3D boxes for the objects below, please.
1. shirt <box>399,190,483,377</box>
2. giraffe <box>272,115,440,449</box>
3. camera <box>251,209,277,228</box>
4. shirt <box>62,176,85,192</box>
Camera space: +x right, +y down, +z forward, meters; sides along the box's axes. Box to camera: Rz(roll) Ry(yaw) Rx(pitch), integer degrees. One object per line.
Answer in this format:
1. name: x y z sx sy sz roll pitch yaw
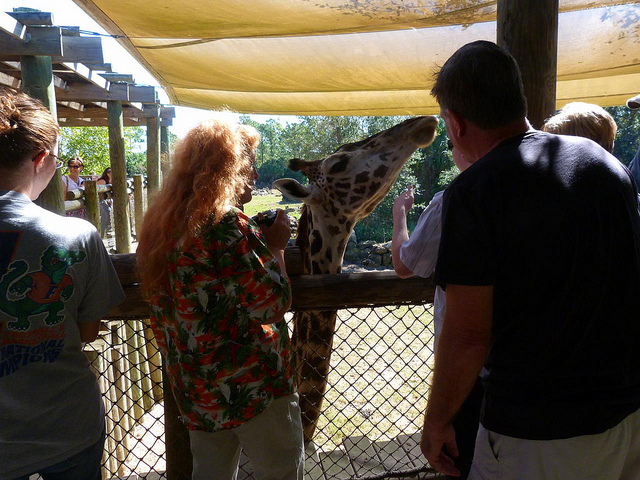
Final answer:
1. shirt: 0.445 0.102 2.306 0.350 0.812 0.310 -1 16 -15
2. giraffe: 0.054 0.191 3.602 0.877 2.005 1.023 4 16 -20
3. camera: -0.261 -0.105 2.608 0.107 0.036 0.066 -20 7 -8
4. shirt: -3.892 -0.893 8.869 0.237 0.192 2.409 -2 9 -24
